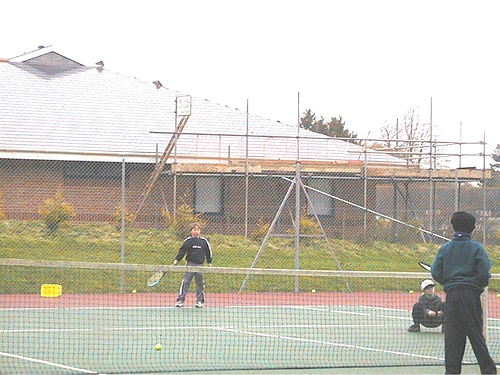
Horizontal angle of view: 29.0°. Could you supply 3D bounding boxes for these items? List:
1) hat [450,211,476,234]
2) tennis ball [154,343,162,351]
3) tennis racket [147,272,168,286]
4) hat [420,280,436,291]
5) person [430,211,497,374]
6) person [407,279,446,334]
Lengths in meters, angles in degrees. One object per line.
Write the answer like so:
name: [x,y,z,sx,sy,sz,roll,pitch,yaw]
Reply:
hat: [3.693,0.611,16.654,0.325,0.349,0.423,3,6,12]
tennis ball: [-1.727,3.032,18.483,0.106,0.103,0.107,6,20,-2]
tennis racket: [-2.162,2.101,22.636,0.204,0.091,0.827,19,14,10]
hat: [3.610,1.981,19.910,0.260,0.181,0.412,-10,-16,0]
person: [3.695,1.795,16.520,0.890,2.665,0.944,-4,9,-17]
person: [3.610,2.358,19.676,0.814,1.018,0.840,6,-11,-21]
